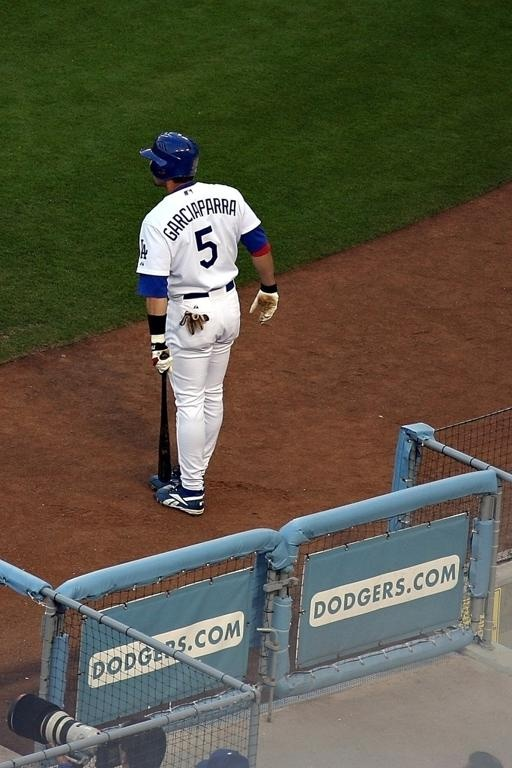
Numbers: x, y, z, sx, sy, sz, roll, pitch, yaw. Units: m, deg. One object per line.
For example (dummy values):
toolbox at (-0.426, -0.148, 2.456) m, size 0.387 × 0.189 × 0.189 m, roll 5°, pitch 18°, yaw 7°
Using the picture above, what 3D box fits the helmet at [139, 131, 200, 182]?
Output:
helmet at (-0.401, -1.076, 6.394) m, size 0.279 × 0.192 × 0.231 m, roll 23°, pitch 38°, yaw 25°

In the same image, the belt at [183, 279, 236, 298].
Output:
belt at (-0.201, -0.446, 6.462) m, size 0.098 × 0.076 × 0.285 m, roll 12°, pitch 15°, yaw 42°

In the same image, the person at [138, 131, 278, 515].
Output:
person at (-0.285, -0.263, 6.578) m, size 0.443 × 1.852 × 0.790 m, roll 7°, pitch 15°, yaw 25°

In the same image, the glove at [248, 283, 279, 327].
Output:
glove at (0.044, -0.443, 7.119) m, size 0.230 × 0.123 × 0.317 m, roll 1°, pitch -22°, yaw 0°
